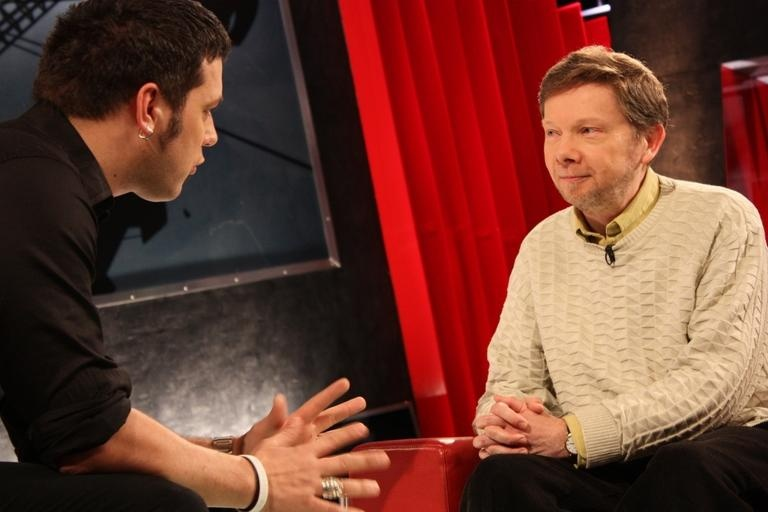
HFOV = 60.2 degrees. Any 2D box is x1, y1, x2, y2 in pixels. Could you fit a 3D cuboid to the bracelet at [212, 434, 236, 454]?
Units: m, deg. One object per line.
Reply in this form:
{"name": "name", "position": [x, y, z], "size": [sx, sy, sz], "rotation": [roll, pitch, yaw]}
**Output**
{"name": "bracelet", "position": [-0.435, 0.509, 1.831], "size": [0.061, 0.038, 0.063], "rotation": [5, -9, -37]}

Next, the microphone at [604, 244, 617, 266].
{"name": "microphone", "position": [0.729, -0.009, 2.145], "size": [0.042, 0.061, 0.016], "rotation": [-6, -5, 40]}

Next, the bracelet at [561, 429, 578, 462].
{"name": "bracelet", "position": [0.549, 0.554, 1.946], "size": [0.047, 0.077, 0.072], "rotation": [-19, 2, 3]}
